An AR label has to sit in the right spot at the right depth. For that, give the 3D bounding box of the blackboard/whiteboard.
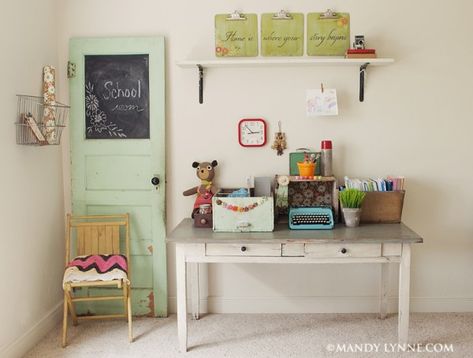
[{"bbox_3d":[-1.030,-0.759,4.100,0.729,0.949,0.016,0,4,3],"label":"blackboard/whiteboard"}]

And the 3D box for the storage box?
[{"bbox_3d":[0.045,0.366,3.904,0.533,0.279,0.535,2,-21,-10],"label":"storage box"}]

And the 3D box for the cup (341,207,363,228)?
[{"bbox_3d":[0.933,0.309,3.779,0.154,0.131,0.145,-1,1,0],"label":"cup"}]

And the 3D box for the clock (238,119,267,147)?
[{"bbox_3d":[0.145,-0.412,4.108,0.241,0.235,0.027,-1,4,0],"label":"clock"}]

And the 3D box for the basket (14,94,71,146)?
[{"bbox_3d":[-1.565,-0.475,3.883,0.359,0.294,0.225,4,-1,-15],"label":"basket"}]

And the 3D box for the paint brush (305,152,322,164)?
[{"bbox_3d":[0.658,-0.181,4.013,0.101,0.111,0.037,3,6,24],"label":"paint brush"}]

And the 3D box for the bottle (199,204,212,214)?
[{"bbox_3d":[-0.271,0.244,3.868,0.128,0.073,0.066,5,10,42],"label":"bottle"}]

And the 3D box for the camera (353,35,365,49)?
[{"bbox_3d":[1.030,-1.151,3.930,0.095,0.131,0.133,0,4,7],"label":"camera"}]

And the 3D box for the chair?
[{"bbox_3d":[-1.196,0.820,4.008,0.611,1.029,0.641,-4,8,-14],"label":"chair"}]

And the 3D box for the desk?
[{"bbox_3d":[0.472,0.854,3.959,1.874,0.948,0.726,0,8,0],"label":"desk"}]

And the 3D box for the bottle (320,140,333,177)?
[{"bbox_3d":[0.770,-0.180,4.017,0.095,0.298,0.083,1,8,19],"label":"bottle"}]

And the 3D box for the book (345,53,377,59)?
[{"bbox_3d":[1.038,-1.023,3.896,0.243,0.047,0.049,-2,7,-2],"label":"book"}]

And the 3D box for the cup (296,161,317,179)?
[{"bbox_3d":[0.590,-0.077,3.871,0.144,0.106,0.144,0,0,0],"label":"cup"}]

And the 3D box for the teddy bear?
[{"bbox_3d":[-0.280,0.091,4.054,0.328,0.483,0.318,-1,0,-15],"label":"teddy bear"}]

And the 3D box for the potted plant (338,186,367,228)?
[{"bbox_3d":[0.942,0.246,3.839,0.196,0.295,0.207,-1,-4,43],"label":"potted plant"}]
